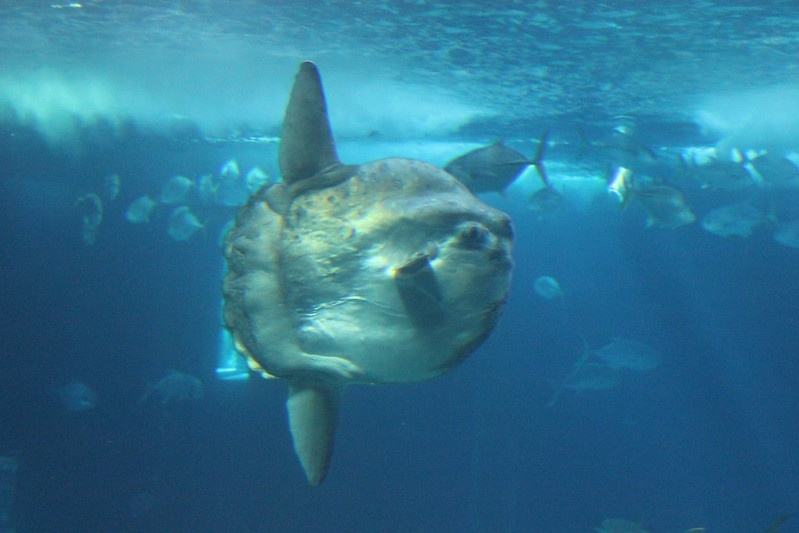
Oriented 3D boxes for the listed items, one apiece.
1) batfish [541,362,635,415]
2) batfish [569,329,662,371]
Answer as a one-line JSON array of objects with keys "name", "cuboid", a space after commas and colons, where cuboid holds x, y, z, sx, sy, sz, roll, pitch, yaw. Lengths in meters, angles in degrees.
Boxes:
[{"name": "batfish", "cuboid": [4.915, 2.977, 26.337, 1.961, 1.218, 2.350, -12, 14, -41]}, {"name": "batfish", "cuboid": [5.603, 2.213, 25.809, 2.298, 0.610, 0.980, -1, 12, 19]}]
